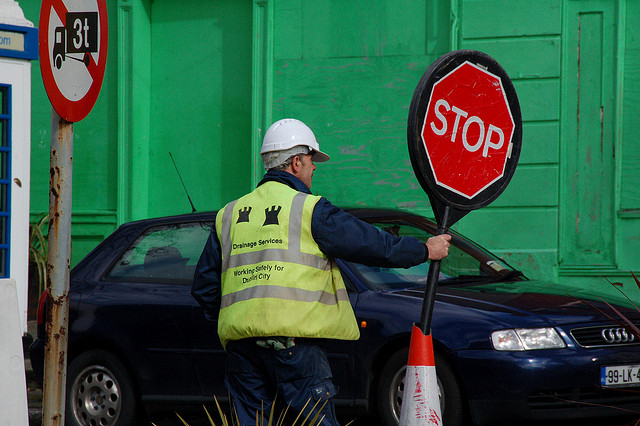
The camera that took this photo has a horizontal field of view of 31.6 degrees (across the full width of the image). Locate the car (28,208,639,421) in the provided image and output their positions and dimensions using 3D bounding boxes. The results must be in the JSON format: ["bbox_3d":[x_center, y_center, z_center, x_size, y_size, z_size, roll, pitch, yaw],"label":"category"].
[{"bbox_3d":[0.175,1.260,12.004,5.999,2.008,2.636,-3,-3,21],"label":"car"}]

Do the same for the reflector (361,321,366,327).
[{"bbox_3d":[0.435,1.099,11.137,0.041,0.049,0.042,4,16,24],"label":"reflector"}]

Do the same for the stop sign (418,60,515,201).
[{"bbox_3d":[1.239,-0.716,9.670,1.170,1.389,0.095,-3,0,-25],"label":"stop sign"}]
